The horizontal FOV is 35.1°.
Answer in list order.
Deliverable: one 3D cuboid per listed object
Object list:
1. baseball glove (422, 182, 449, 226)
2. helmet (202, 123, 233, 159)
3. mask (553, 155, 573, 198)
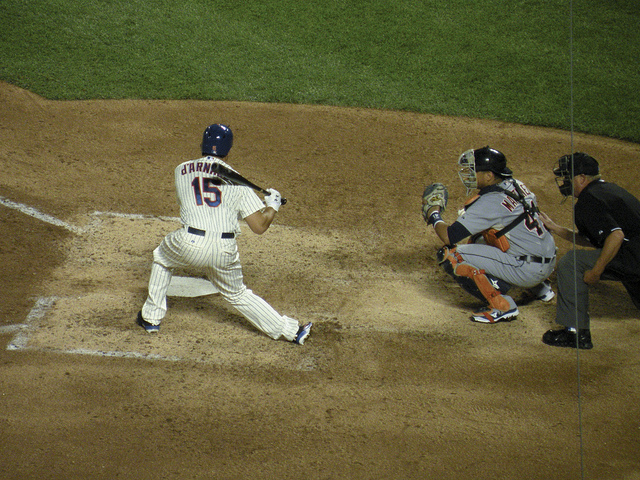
[{"bbox_3d":[1.445,-0.458,12.804,0.330,0.483,0.221,3,-7,21],"label":"baseball glove"},{"bbox_3d":[-1.203,-1.184,11.969,0.363,0.361,0.416,3,15,-3],"label":"helmet"},{"bbox_3d":[2.973,-0.783,12.472,0.294,0.468,0.394,-6,17,-6],"label":"mask"}]
